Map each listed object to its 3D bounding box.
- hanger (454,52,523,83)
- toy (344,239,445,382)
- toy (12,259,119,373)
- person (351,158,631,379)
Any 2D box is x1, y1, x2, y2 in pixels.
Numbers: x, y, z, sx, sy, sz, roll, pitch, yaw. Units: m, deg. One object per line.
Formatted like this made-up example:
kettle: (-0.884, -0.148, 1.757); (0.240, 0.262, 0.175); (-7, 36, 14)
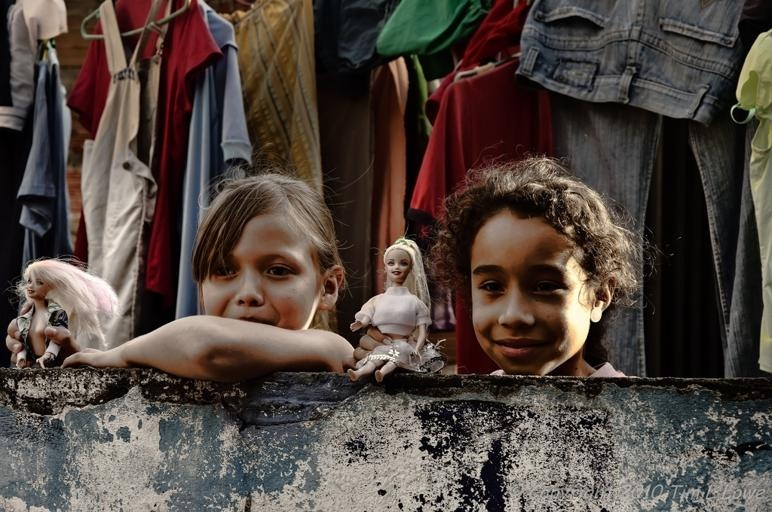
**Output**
hanger: (0.439, -0.816, 6.813); (0.203, 0.138, 0.273); (-8, 12, -36)
toy: (0.073, 0.224, 6.126); (0.277, 0.593, 0.284); (4, 7, 39)
toy: (-1.279, 0.214, 6.317); (0.289, 0.525, 0.296); (-1, 9, -16)
person: (0.589, 0.140, 6.235); (0.820, 1.037, 0.828); (0, 1, -1)
